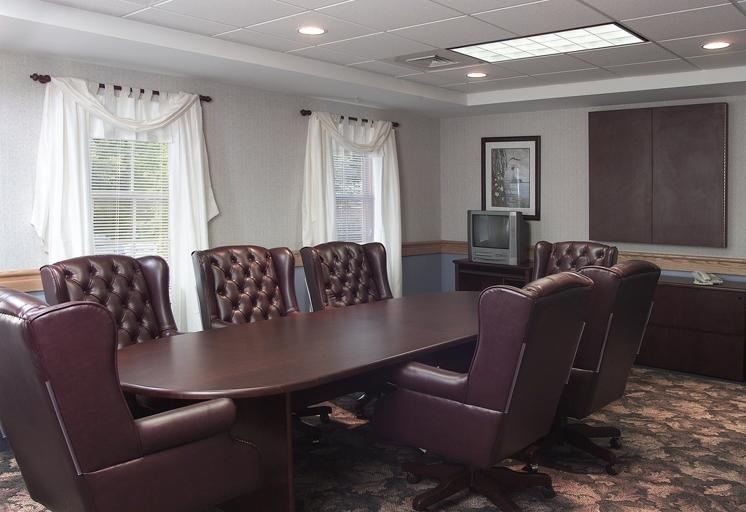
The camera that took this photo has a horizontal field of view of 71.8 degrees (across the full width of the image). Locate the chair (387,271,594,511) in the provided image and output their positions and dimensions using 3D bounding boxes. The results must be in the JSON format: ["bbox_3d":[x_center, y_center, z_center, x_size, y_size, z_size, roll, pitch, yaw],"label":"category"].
[{"bbox_3d":[0.838,0.792,3.702,1.448,1.657,1.312,0,1,38],"label":"chair"}]

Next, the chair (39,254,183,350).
[{"bbox_3d":[-1.922,0.339,3.992,0.894,0.967,0.759,-6,-1,41],"label":"chair"}]

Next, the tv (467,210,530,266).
[{"bbox_3d":[1.790,-0.282,7.072,0.795,0.710,0.612,5,11,41],"label":"tv"}]

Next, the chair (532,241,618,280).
[{"bbox_3d":[2.087,0.095,5.279,0.529,0.549,0.643,4,-3,24],"label":"chair"}]

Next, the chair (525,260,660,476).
[{"bbox_3d":[1.430,0.766,3.800,1.064,1.341,1.076,-4,-3,31],"label":"chair"}]

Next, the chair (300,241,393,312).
[{"bbox_3d":[-0.268,0.156,5.139,0.702,0.905,0.752,-4,0,-38],"label":"chair"}]

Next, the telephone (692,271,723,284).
[{"bbox_3d":[3.521,0.246,5.413,0.200,0.063,0.183,-4,10,5],"label":"telephone"}]

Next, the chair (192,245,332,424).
[{"bbox_3d":[-0.865,0.588,4.243,1.209,1.218,1.175,1,6,14],"label":"chair"}]
